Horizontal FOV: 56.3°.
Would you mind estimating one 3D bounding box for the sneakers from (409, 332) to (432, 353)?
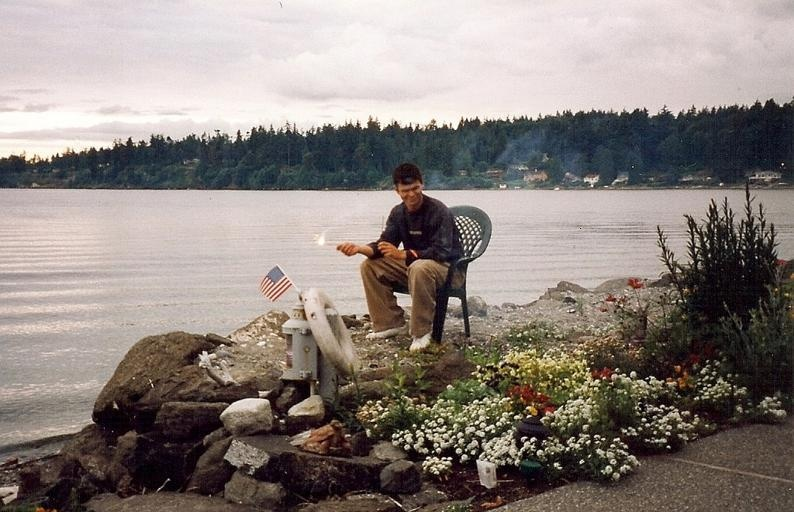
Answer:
[{"bbox_3d":[0.385,1.374,11.787,0.172,0.448,0.199,16,44,-7],"label":"sneakers"}]

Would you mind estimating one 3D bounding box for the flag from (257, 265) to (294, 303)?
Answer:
[{"bbox_3d":[-1.816,0.344,10.759,0.448,0.534,0.531,5,-14,30],"label":"flag"}]

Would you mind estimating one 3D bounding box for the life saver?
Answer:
[{"bbox_3d":[-0.857,1.013,9.759,0.286,1.055,1.045,-25,25,-5],"label":"life saver"}]
